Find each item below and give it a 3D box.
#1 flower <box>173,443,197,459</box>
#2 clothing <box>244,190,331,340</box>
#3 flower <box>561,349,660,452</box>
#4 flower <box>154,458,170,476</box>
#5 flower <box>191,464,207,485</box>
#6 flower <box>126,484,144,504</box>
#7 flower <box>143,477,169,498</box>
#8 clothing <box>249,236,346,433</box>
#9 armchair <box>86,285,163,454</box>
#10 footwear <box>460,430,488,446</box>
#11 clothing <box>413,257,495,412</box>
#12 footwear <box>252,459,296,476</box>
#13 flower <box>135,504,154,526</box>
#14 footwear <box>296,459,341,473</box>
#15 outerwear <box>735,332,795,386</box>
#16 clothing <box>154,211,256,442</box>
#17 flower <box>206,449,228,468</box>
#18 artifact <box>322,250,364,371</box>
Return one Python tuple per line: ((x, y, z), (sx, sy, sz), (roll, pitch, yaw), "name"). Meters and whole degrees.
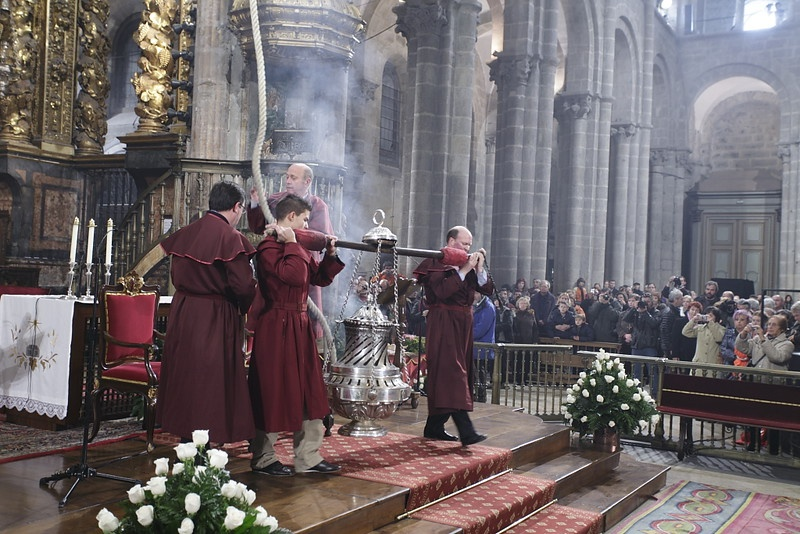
((-1.867, 1.618, 7.119), (0.167, 0.170, 0.175), (2, 0, -15), "flower")
((-1.129, -0.069, 9.605), (0.995, 1.610, 0.453), (1, 2, -24), "clothing")
((2.967, 1.994, 12.045), (1.417, 1.502, 1.390), (2, -14, -5), "flower")
((-2.073, 1.751, 7.088), (0.097, 0.164, 0.283), (2, 0, -17), "flower")
((-1.728, 1.779, 7.005), (0.099, 0.125, 0.050), (7, 2, 25), "flower")
((-2.265, 1.947, 6.954), (0.166, 0.167, 0.103), (2, 0, 17), "flower")
((-2.063, 1.852, 6.906), (0.170, 0.132, 0.166), (-12, -6, -25), "flower")
((-1.156, 0.674, 8.867), (0.878, 2.350, 1.103), (-1, -4, 36), "clothing")
((-3.266, 1.117, 9.768), (0.746, 1.996, 1.189), (2, 0, -17), "armchair")
((0.886, 2.077, 9.909), (0.366, 0.156, 0.129), (-9, 5, -21), "footwear")
((0.604, 0.847, 10.005), (0.868, 1.866, 0.421), (2, 0, 4), "clothing")
((-1.337, 2.137, 8.700), (0.416, 0.141, 0.161), (-1, -6, 11), "footwear")
((-2.136, 2.082, 6.846), (0.155, 0.154, 0.159), (21, -26, -38), "flower")
((-0.873, 2.117, 8.749), (0.457, 0.158, 0.162), (-1, -3, -6), "footwear")
((6.047, 1.528, 13.224), (0.825, 1.159, 0.803), (11, -12, -13), "outerwear")
((-1.965, 0.604, 8.416), (0.939, 2.412, 0.399), (2, 0, -14), "clothing")
((-1.600, 1.675, 7.128), (0.151, 0.167, 0.253), (2, 0, -19), "flower")
((-0.692, 0.566, 12.517), (0.373, 1.670, 0.343), (-3, 22, -30), "artifact")
